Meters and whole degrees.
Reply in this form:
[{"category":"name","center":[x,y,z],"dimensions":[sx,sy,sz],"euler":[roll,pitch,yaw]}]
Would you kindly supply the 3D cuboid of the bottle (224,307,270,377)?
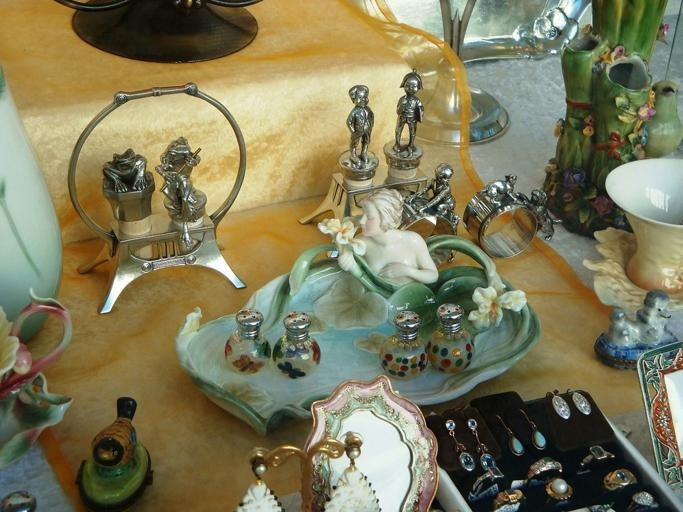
[{"category":"bottle","center":[-0.168,0.158,0.980],"dimensions":[0.065,0.091,0.063],"euler":[9,39,-7]}]
